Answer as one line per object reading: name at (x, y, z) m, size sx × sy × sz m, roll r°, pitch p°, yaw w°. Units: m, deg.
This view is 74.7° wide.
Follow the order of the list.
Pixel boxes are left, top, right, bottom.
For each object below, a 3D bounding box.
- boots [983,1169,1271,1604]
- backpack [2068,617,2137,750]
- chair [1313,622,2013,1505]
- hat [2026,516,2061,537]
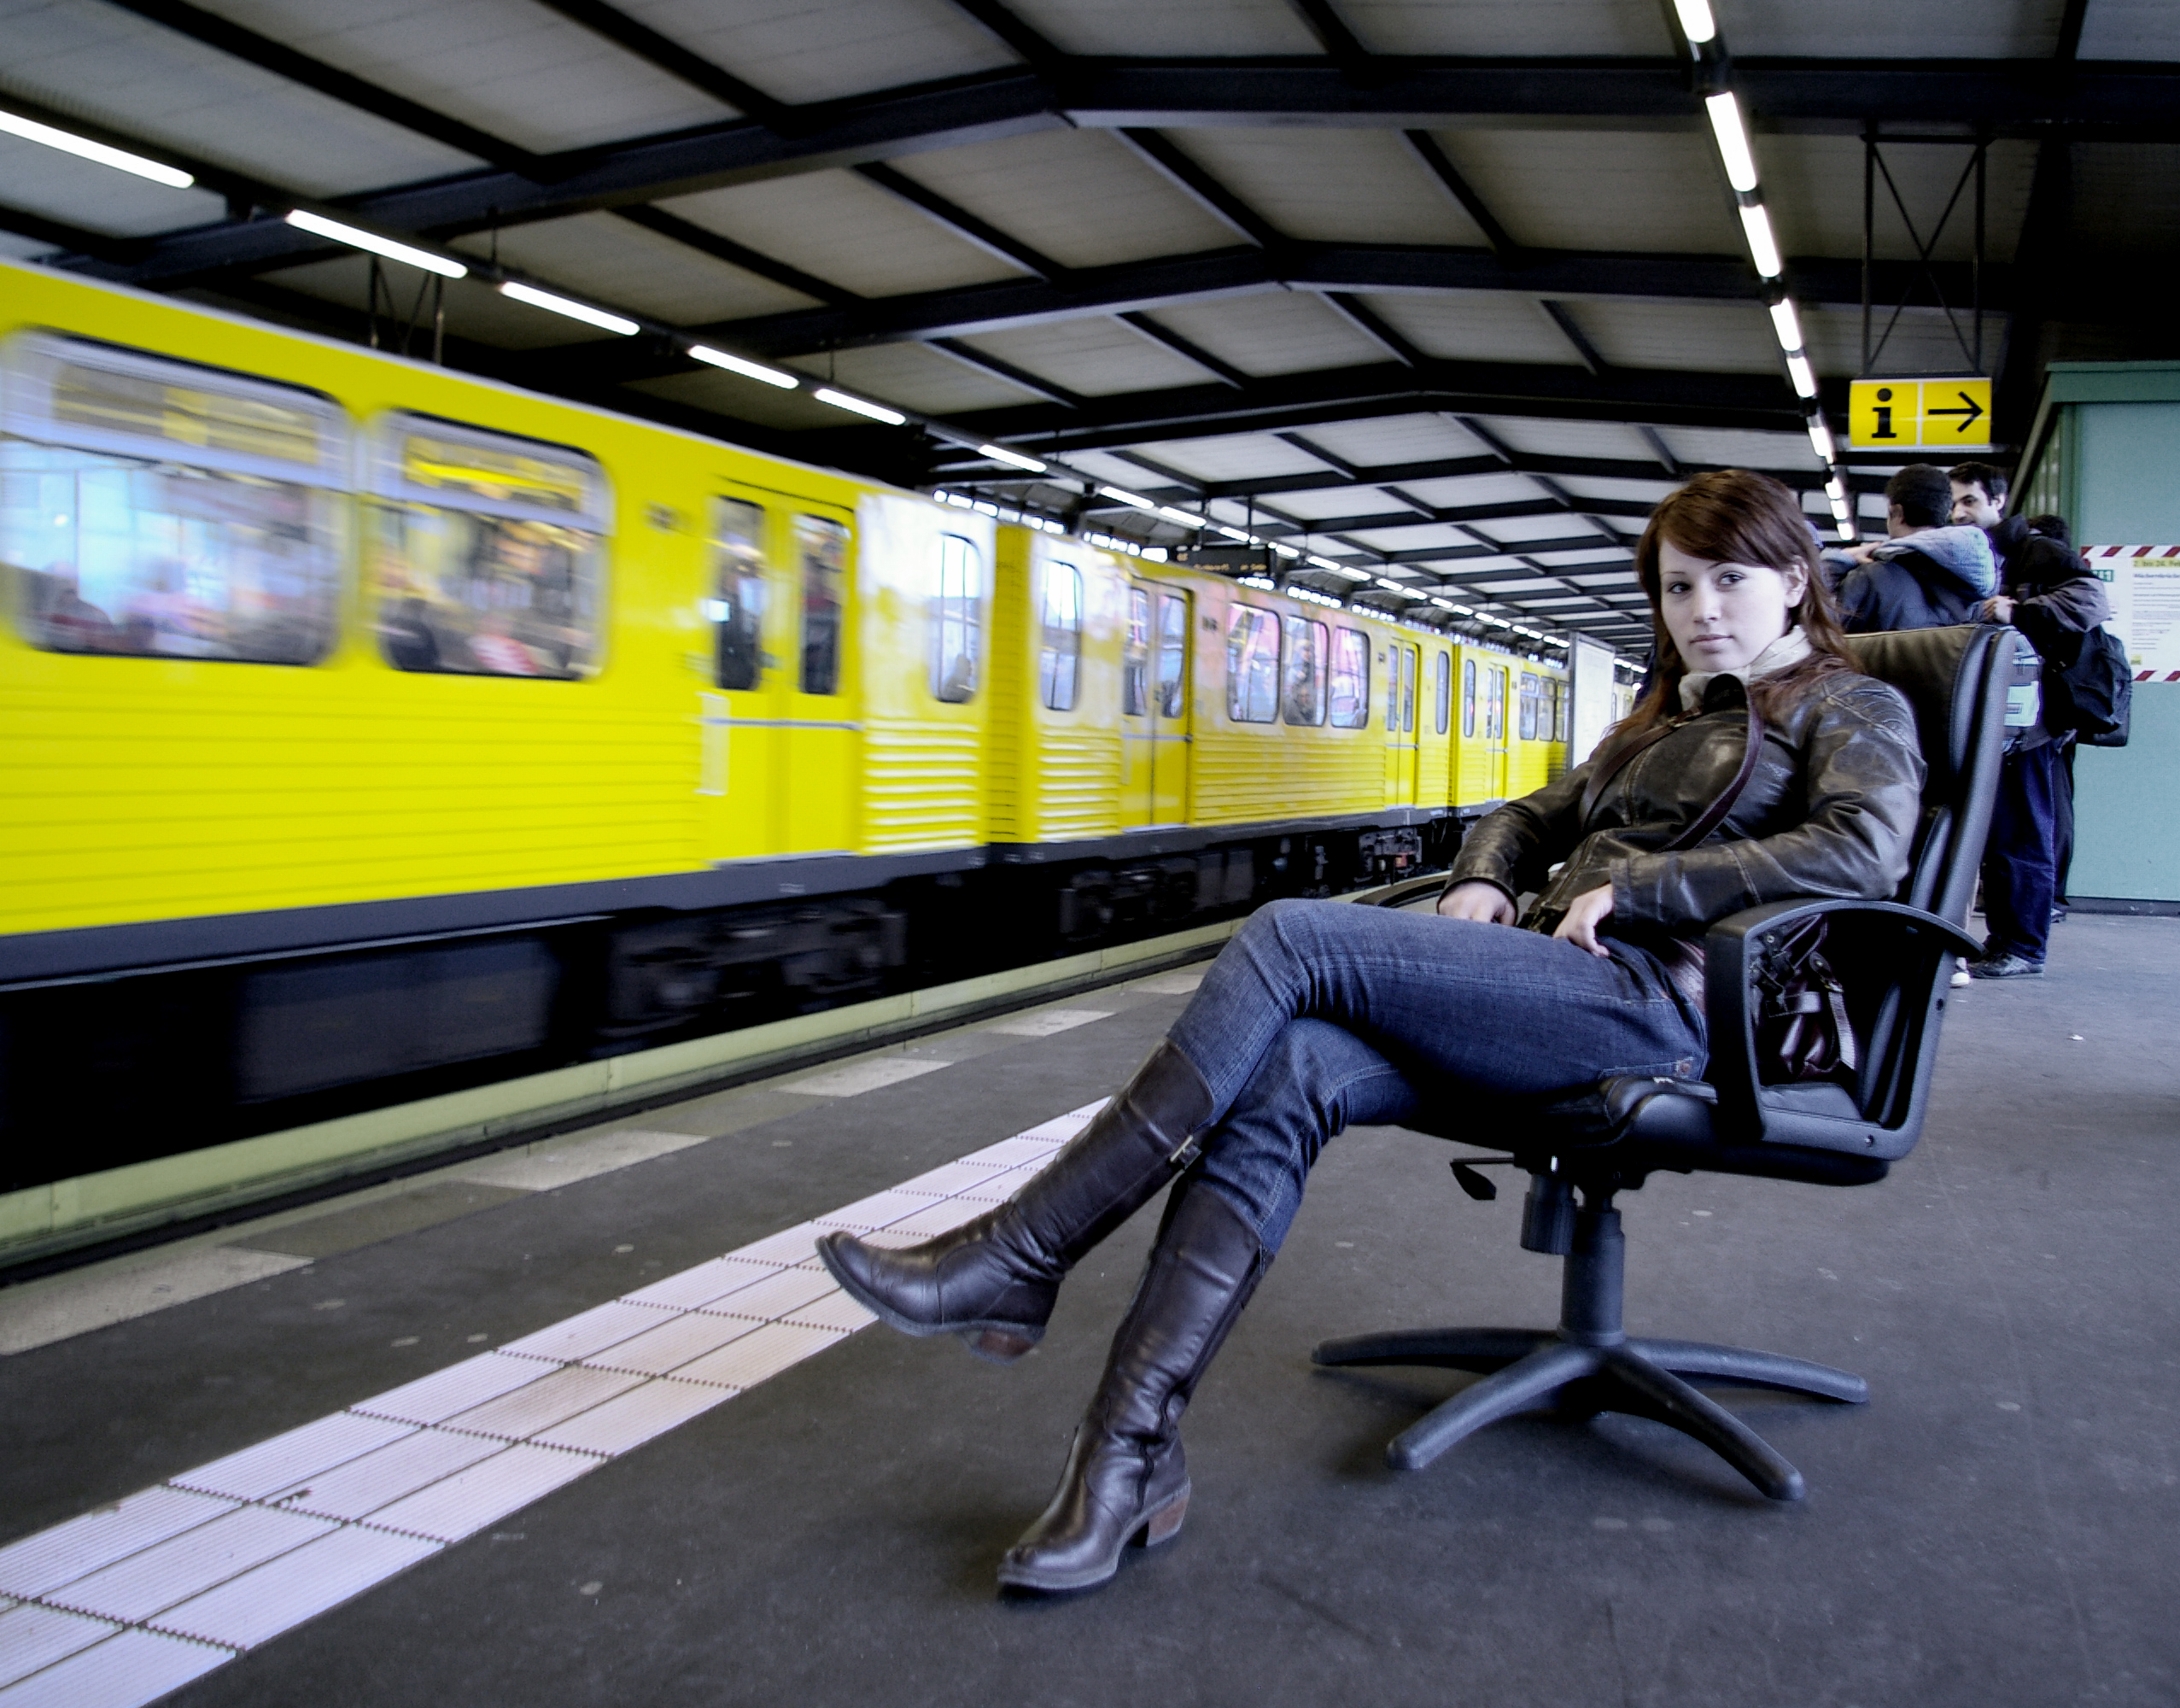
boots at (0.053, 0.815, 2.224) m, size 0.470 × 0.572 × 0.199 m, roll -5°, pitch 6°, yaw -37°
backpack at (5.067, -0.846, 7.165) m, size 0.211 × 0.560 × 0.560 m, roll 3°, pitch 6°, yaw 38°
chair at (1.443, 0.468, 3.296) m, size 1.586 × 1.980 × 1.461 m, roll 5°, pitch -9°, yaw -5°
hat at (5.025, -1.731, 7.469) m, size 0.166 × 0.094 × 0.157 m, roll -1°, pitch 5°, yaw 8°
